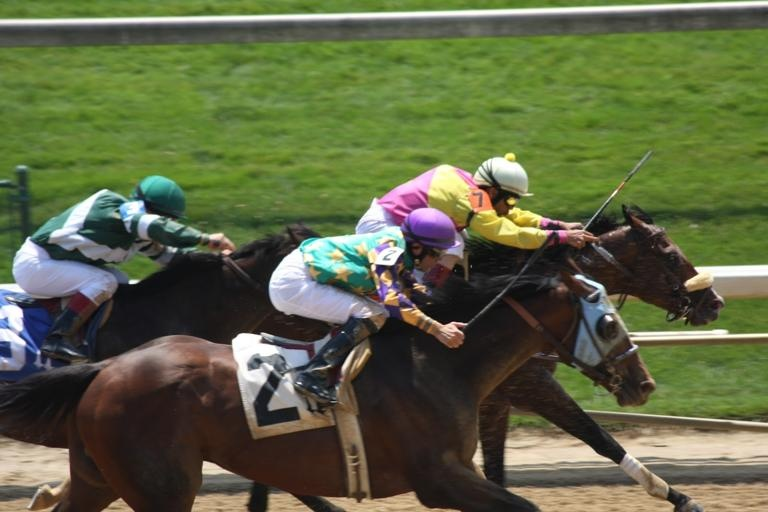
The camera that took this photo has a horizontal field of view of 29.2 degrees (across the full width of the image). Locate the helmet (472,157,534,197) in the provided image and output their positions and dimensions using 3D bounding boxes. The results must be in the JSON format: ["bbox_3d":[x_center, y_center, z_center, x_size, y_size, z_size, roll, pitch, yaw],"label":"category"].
[{"bbox_3d":[0.935,-0.669,11.767,0.590,0.213,0.352,13,16,7],"label":"helmet"}]

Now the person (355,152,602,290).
[{"bbox_3d":[0.832,-0.224,11.958,2.007,1.161,0.808,11,33,30],"label":"person"}]

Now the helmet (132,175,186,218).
[{"bbox_3d":[-1.807,-0.489,11.918,0.488,0.198,0.287,19,29,-9],"label":"helmet"}]
